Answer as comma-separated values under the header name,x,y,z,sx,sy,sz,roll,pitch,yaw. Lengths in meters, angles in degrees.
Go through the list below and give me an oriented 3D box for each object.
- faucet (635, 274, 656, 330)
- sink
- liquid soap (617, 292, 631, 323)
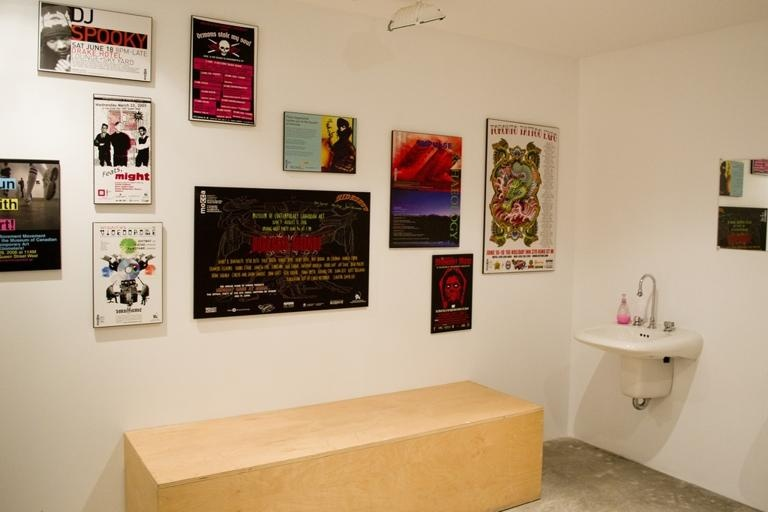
name,x,y,z,sx,sy,sz,roll,pitch,yaw
faucet,2.077,0.335,4.029,0.152,0.407,0.211,4,7,26
sink,1.883,0.643,3.867,0.896,0.212,0.484,0,6,-22
liquid soap,1.940,0.415,4.126,0.109,0.223,0.212,5,6,26
